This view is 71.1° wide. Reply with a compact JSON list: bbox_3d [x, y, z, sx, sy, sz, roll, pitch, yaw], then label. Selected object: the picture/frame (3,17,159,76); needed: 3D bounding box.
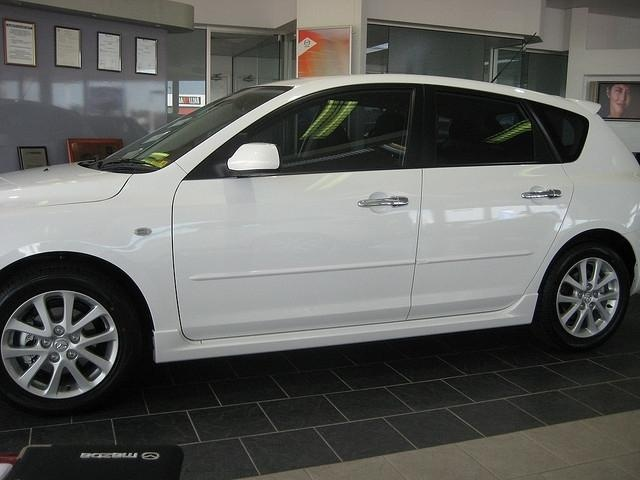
[{"bbox_3d":[-2.993,-2.397,5.686,1.719,0.569,0.046,-7,14,-41],"label":"picture/frame"}]
